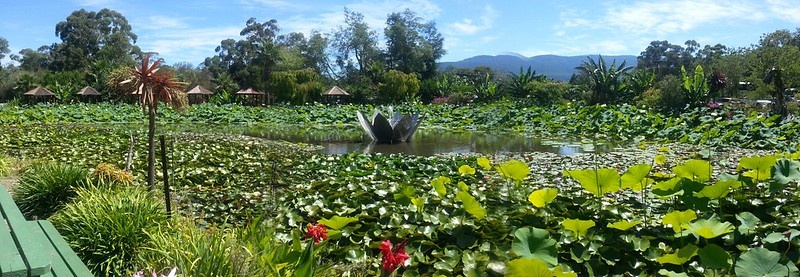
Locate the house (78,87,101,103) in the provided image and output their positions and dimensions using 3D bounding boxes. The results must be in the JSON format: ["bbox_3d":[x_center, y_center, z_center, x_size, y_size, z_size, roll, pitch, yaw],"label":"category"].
[{"bbox_3d":[-29.675,-4.161,44.117,2.255,1.016,2.120,-5,12,-37],"label":"house"}]

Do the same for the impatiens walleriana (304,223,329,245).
[{"bbox_3d":[-4.131,4.667,22.853,1.142,1.029,0.488,33,-35,9],"label":"impatiens walleriana"}]

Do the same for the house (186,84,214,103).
[{"bbox_3d":[-22.232,-4.838,50.976,1.686,2.170,11.688,-3,3,-23],"label":"house"}]

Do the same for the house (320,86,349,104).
[{"bbox_3d":[-6.713,-4.264,47.483,3.004,1.185,2.156,-1,13,-6],"label":"house"}]
